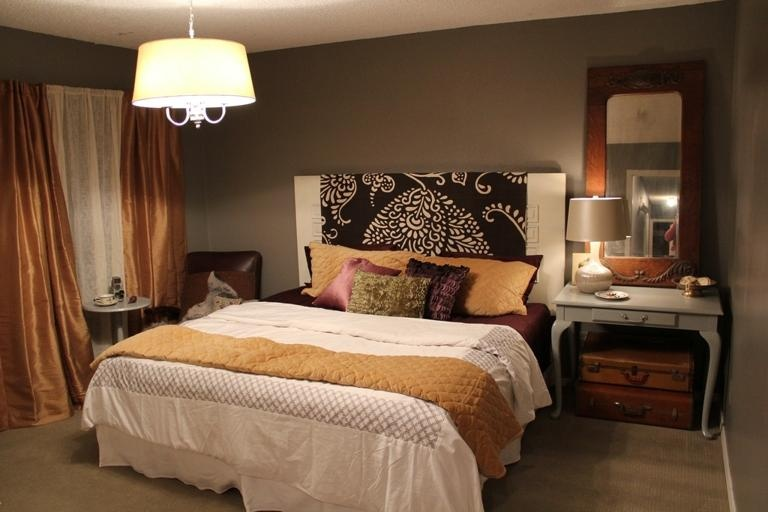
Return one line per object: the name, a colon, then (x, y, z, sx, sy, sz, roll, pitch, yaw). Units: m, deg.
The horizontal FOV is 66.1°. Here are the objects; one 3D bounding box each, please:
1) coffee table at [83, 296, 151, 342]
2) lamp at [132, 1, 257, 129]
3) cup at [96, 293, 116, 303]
coffee table: (-2.294, 0.485, 5.211, 0.440, 0.500, 0.463, 4, 8, 22)
lamp: (-1.291, -1.188, 3.799, 0.653, 0.711, 0.871, -4, 9, -36)
cup: (-2.365, 0.351, 5.051, 0.083, 0.042, 0.112, 4, 3, 28)
